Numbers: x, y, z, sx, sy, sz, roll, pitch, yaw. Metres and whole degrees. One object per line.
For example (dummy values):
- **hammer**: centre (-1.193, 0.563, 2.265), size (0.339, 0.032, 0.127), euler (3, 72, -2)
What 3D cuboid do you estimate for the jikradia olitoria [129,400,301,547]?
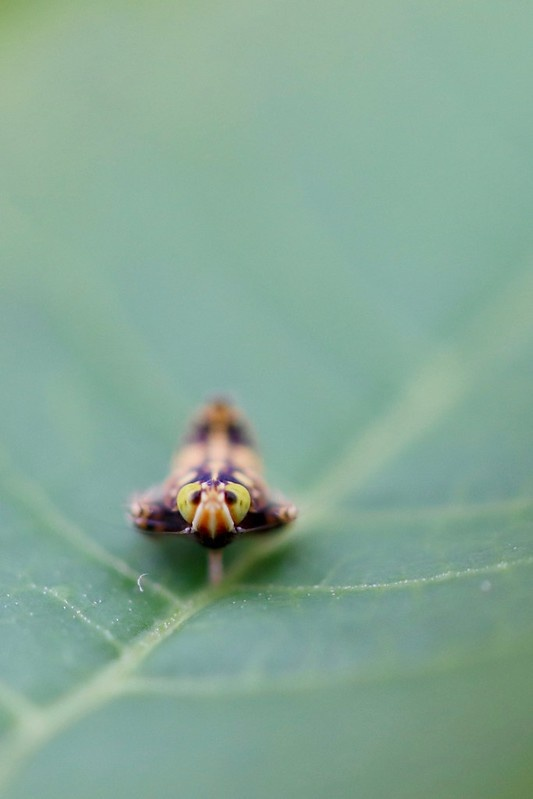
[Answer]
- **jikradia olitoria**: centre (-0.075, 0.111, 1.209), size (0.214, 0.117, 0.363), euler (0, 18, -4)
